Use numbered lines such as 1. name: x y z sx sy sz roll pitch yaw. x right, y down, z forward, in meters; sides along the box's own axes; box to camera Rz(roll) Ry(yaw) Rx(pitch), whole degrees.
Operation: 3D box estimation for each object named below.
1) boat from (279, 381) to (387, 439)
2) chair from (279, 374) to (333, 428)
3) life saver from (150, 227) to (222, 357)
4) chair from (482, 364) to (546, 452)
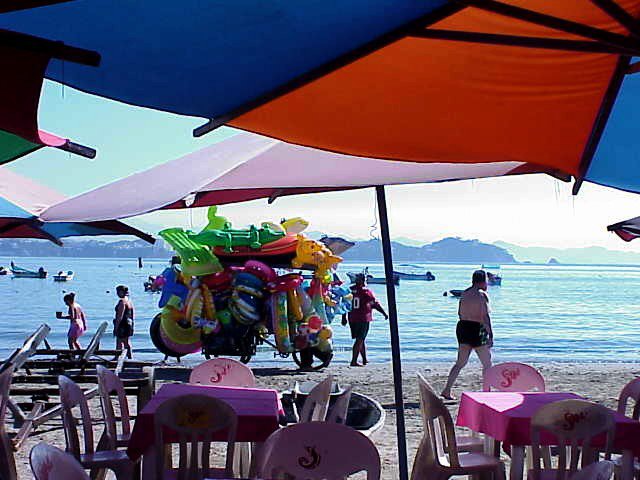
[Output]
1. boat: 0.145 1.875 7.912 1.133 0.385 1.442 -1 4 -4
2. chair: -0.138 1.774 7.861 0.372 0.485 1.223 3 -7 -4
3. life saver: -2.550 1.010 13.350 1.440 2.141 0.764 25 -13 -7
4. chair: 2.177 1.812 8.203 0.768 1.292 0.777 2 -16 3
